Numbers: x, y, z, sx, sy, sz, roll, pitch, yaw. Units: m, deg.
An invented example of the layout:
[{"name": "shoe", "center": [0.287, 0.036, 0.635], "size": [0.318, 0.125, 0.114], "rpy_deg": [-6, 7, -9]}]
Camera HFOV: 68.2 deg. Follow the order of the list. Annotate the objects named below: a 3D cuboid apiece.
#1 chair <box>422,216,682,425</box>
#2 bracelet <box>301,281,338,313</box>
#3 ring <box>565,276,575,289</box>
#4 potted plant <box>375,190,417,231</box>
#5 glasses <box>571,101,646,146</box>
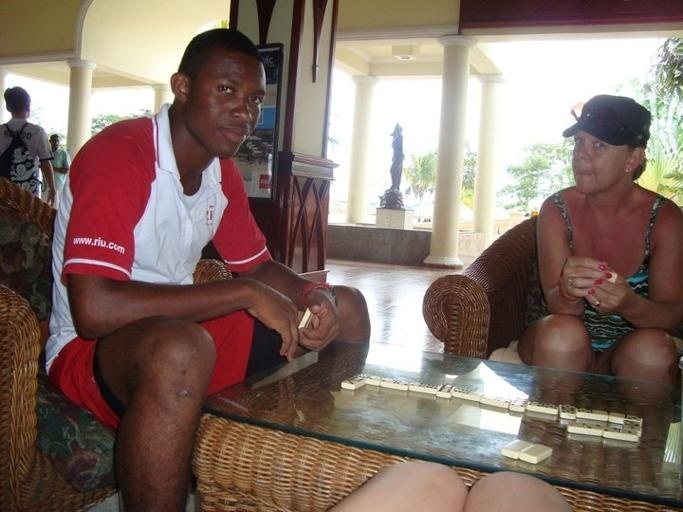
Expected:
[{"name": "chair", "center": [0.846, 0.205, 2.171], "size": [0.681, 0.798, 0.720], "rpy_deg": [1, 1, 24]}, {"name": "bracelet", "center": [-0.073, 0.129, 1.671], "size": [0.097, 0.084, 0.077], "rpy_deg": [-2, 5, 25]}, {"name": "ring", "center": [0.813, 0.098, 1.795], "size": [0.017, 0.033, 0.032], "rpy_deg": [-16, -7, 25]}, {"name": "potted plant", "center": [1.112, -1.033, 11.448], "size": [0.886, 1.285, 0.892], "rpy_deg": [-3, 4, -41]}, {"name": "glasses", "center": [1.094, -0.529, 2.023], "size": [0.237, 0.129, 0.182], "rpy_deg": [14, 16, -9]}]
